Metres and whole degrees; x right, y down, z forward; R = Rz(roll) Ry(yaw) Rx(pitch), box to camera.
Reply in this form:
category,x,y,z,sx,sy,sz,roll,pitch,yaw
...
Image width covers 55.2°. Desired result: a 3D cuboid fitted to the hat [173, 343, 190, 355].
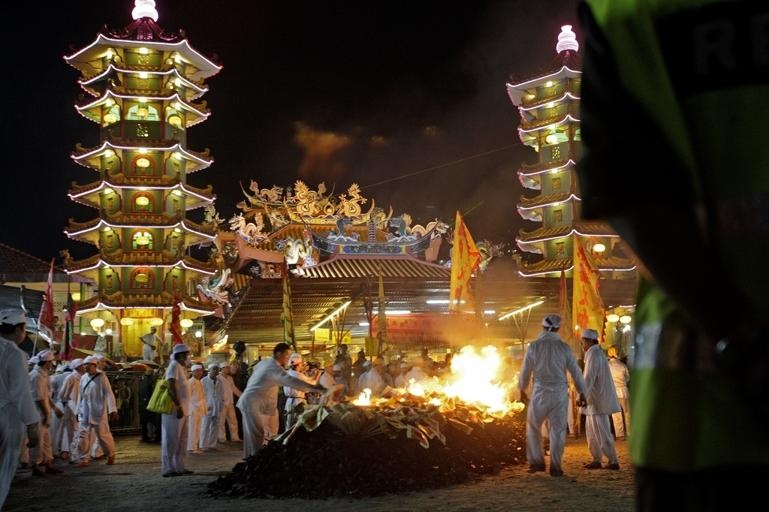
category,x,y,z,sx,sy,sz,roll,pitch,yaw
hat,-3.202,1.451,11.598,0.191,0.094,0.194,-2,0,43

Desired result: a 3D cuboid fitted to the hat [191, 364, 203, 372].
category,x,y,z,sx,sy,sz,roll,pitch,yaw
hat,-4.029,2.382,15.718,0.147,0.088,0.144,-4,3,-41

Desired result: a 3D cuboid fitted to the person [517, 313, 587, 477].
category,x,y,z,sx,sy,sz,roll,pitch,yaw
person,2.226,1.775,9.741,0.868,2.114,0.856,-4,-13,12

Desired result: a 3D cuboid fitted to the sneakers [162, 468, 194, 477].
category,x,y,z,sx,sy,sz,roll,pitch,yaw
sneakers,-3.092,3.224,10.991,0.439,0.164,0.138,-2,-3,-6

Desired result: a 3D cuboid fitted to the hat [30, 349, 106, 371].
category,x,y,z,sx,sy,sz,roll,pitch,yaw
hat,-5.639,1.888,13.017,1.120,0.266,0.651,2,-6,-10
